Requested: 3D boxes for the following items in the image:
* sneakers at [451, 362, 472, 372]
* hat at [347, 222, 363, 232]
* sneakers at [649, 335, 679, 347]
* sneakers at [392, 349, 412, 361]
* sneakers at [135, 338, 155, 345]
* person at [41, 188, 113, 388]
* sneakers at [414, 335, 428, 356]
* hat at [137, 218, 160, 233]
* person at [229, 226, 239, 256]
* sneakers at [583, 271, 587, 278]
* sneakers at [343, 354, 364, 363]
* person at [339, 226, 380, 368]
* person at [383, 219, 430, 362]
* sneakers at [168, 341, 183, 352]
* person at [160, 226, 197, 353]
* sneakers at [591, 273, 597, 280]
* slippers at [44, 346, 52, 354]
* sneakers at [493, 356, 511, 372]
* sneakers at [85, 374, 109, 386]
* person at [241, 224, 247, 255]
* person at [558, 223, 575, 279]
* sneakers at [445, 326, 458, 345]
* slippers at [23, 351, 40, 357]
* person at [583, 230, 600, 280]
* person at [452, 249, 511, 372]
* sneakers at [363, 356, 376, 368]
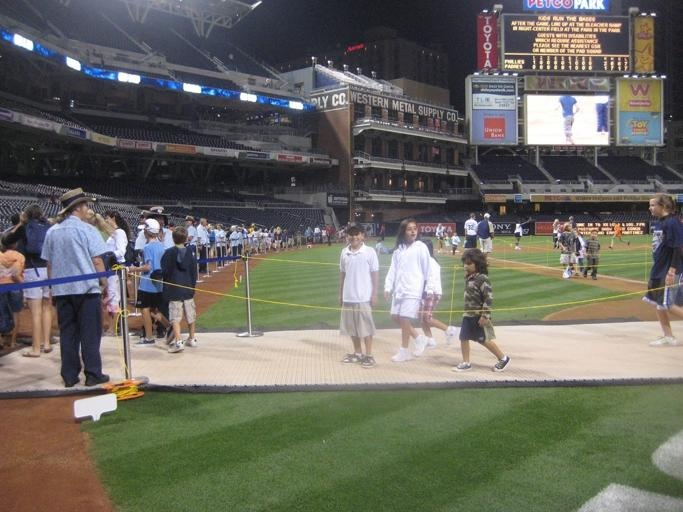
[{"bbox_3d":[1.818,1.650,8.985,0.318,0.143,0.117,0,2,-4],"label":"sneakers"},{"bbox_3d":[0.221,-0.441,9.317,0.202,0.148,0.339,1,5,5],"label":"hat"},{"bbox_3d":[5.398,1.429,10.148,0.546,0.234,0.206,0,0,10],"label":"sneakers"},{"bbox_3d":[0.989,1.596,9.647,0.270,0.120,0.159,-1,0,-21],"label":"sneakers"},{"bbox_3d":[-3.637,1.549,11.060,0.383,0.163,0.132,3,-3,7],"label":"sneakers"},{"bbox_3d":[-3.828,0.497,8.710,0.870,2.772,0.849,-1,2,-18],"label":"person"},{"bbox_3d":[1.317,1.426,9.823,0.178,0.438,0.159,2,9,6],"label":"sneakers"},{"bbox_3d":[-3.624,-0.552,11.317,0.201,0.233,0.357,-19,-29,39],"label":"hat"},{"bbox_3d":[-5.247,-0.710,29.179,0.398,1.442,2.040,-2,5,-11],"label":"person"},{"bbox_3d":[8.436,0.654,20.567,0.125,0.174,0.404,-4,-7,15],"label":"sneakers"},{"bbox_3d":[0.198,1.631,9.600,0.308,0.130,0.128,-1,-3,12],"label":"sneakers"},{"bbox_3d":[0.289,0.595,9.552,0.608,2.168,0.784,-1,4,0],"label":"person"},{"bbox_3d":[1.073,0.546,9.620,0.707,2.230,0.716,0,4,7],"label":"person"},{"bbox_3d":[-2.920,1.559,10.409,0.162,0.224,0.473,-1,1,-32],"label":"sneakers"},{"bbox_3d":[-2.791,0.570,10.471,0.508,2.090,0.668,3,6,43],"label":"person"},{"bbox_3d":[8.423,0.701,19.785,0.115,0.241,0.249,0,-10,4],"label":"sneakers"},{"bbox_3d":[-4.957,1.574,10.097,0.106,0.110,0.104,1,-6,1],"label":"slippers"},{"bbox_3d":[2.395,1.596,8.891,0.347,0.135,0.116,-40,-13,-48],"label":"sneakers"},{"bbox_3d":[-3.444,1.747,8.444,0.365,0.162,0.129,-2,3,-24],"label":"sneakers"},{"bbox_3d":[-5.235,-0.987,32.374,0.316,1.167,1.700,-2,5,-10],"label":"person"},{"bbox_3d":[7.601,-0.176,19.980,0.447,1.799,0.916,1,5,21],"label":"person"},{"bbox_3d":[1.954,1.398,10.493,0.226,0.189,0.551,-8,-38,2],"label":"sneakers"},{"bbox_3d":[-5.099,1.616,9.852,0.237,0.077,0.129,6,0,12],"label":"slippers"},{"bbox_3d":[8.616,-0.096,20.582,0.467,1.606,2.369,1,5,22],"label":"person"},{"bbox_3d":[2.100,0.793,8.947,0.756,1.805,0.835,0,5,14],"label":"person"},{"bbox_3d":[0.431,1.614,9.333,0.223,0.171,0.244,-1,5,0],"label":"sneakers"}]
